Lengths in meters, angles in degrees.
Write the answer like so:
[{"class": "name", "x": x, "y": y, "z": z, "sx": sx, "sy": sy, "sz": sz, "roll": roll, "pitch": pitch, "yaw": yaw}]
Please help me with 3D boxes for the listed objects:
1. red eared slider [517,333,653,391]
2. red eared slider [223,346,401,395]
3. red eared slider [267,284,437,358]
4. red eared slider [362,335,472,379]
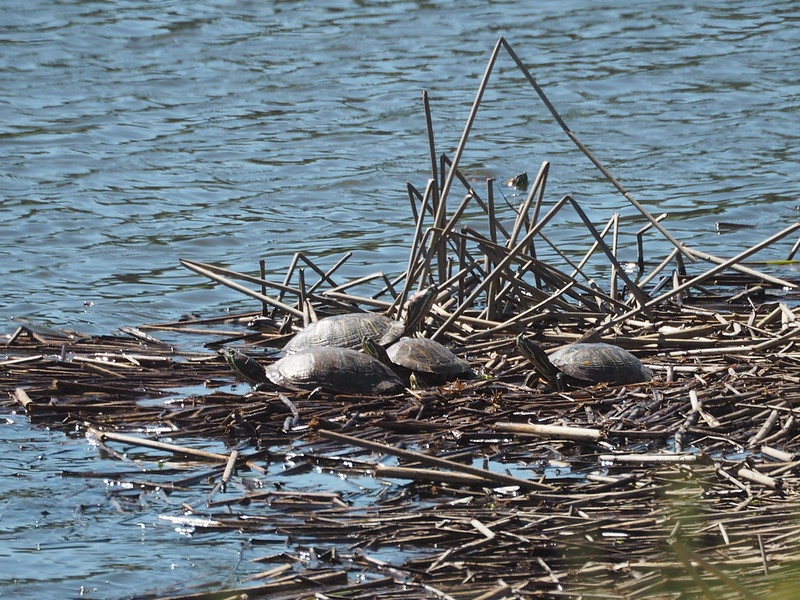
[{"class": "red eared slider", "x": 1.858, "y": 0.654, "z": 13.792, "sx": 1.671, "sy": 0.285, "sz": 0.868, "roll": 1, "pitch": 12, "yaw": -26}, {"class": "red eared slider", "x": -0.864, "y": 0.677, "z": 13.531, "sx": 2.009, "sy": 0.243, "sz": 0.687, "roll": 2, "pitch": 21, "yaw": -5}, {"class": "red eared slider", "x": -0.465, "y": 0.271, "z": 14.548, "sx": 1.917, "sy": 0.329, "sz": 0.775, "roll": -10, "pitch": 18, "yaw": 5}, {"class": "red eared slider", "x": 0.349, "y": 0.501, "z": 13.836, "sx": 1.295, "sy": 0.319, "sz": 0.528, "roll": -14, "pitch": 45, "yaw": 21}]
